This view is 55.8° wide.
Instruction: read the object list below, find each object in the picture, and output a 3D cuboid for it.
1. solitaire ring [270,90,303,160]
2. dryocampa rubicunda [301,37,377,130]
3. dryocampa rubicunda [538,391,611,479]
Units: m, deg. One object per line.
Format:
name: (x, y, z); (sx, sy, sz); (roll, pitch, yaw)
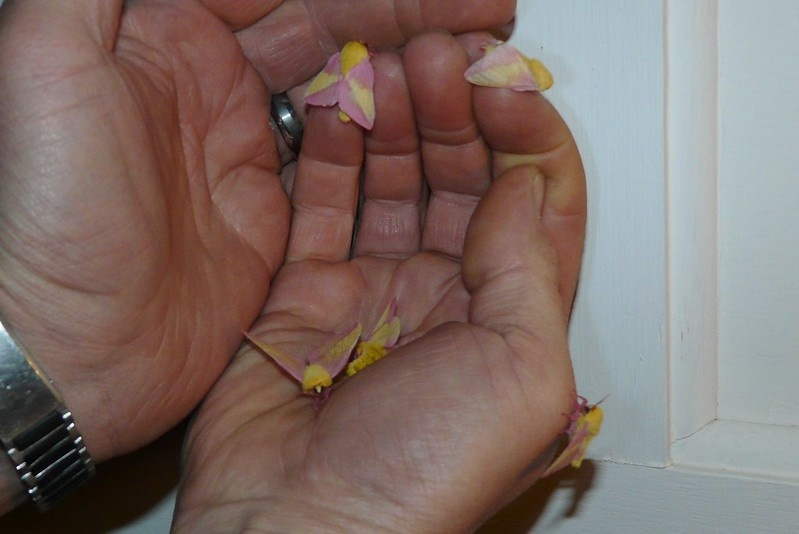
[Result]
solitaire ring: (-0.176, -0.222, 1.195); (0.045, 0.088, 0.063); (-22, 40, -24)
dryocampa rubicunda: (-0.082, -0.272, 1.110); (0.113, 0.091, 0.074); (20, 43, 27)
dryocampa rubicunda: (0.246, 0.226, 1.024); (0.049, 0.144, 0.093); (18, 1, 25)
